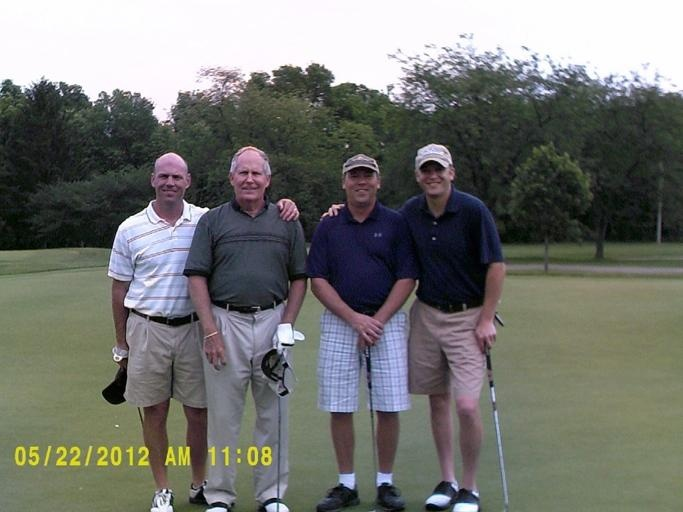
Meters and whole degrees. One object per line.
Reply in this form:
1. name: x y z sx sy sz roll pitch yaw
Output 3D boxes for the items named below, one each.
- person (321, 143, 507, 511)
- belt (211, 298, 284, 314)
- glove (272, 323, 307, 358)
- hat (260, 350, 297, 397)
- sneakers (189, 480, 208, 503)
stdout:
1. person: 0.794 0.505 5.486 0.757 2.693 0.483 0 1 20
2. belt: -0.688 0.372 5.414 0.501 0.096 0.119 -1 0 -15
3. glove: -0.417 0.609 5.445 0.213 0.097 0.222 4 33 -1
4. hat: -0.424 0.839 5.528 0.304 0.178 0.411 -3 -23 5
5. sneakers: -1.109 1.797 5.547 0.200 0.116 0.091 -1 -1 17
